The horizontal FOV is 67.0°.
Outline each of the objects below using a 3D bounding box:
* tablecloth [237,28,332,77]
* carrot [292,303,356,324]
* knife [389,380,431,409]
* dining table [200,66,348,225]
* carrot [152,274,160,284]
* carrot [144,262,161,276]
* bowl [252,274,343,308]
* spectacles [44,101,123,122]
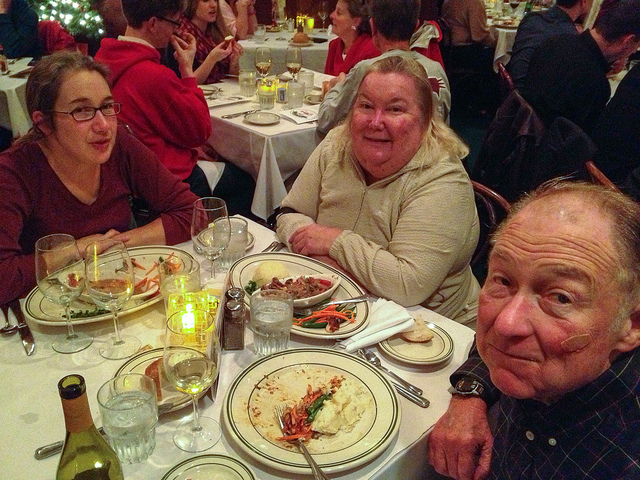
[{"bbox_3d":[-0.448,-2.303,5.969,1.037,0.269,1.075,24,42,31],"label":"tablecloth"},{"bbox_3d":[0.008,0.288,1.885,0.143,0.042,0.102,5,10,5],"label":"carrot"},{"bbox_3d":[0.298,0.521,1.614,0.024,0.017,0.184,-31,37,-24],"label":"knife"},{"bbox_3d":[-0.506,-1.053,4.524,1.766,0.549,1.891,-5,37,-15],"label":"dining table"},{"bbox_3d":[-0.681,0.161,1.996,0.030,0.008,0.032,5,32,-14],"label":"carrot"},{"bbox_3d":[-0.706,0.122,2.031,0.014,0.014,0.074,21,42,19],"label":"carrot"},{"bbox_3d":[-0.074,0.164,1.982,0.202,0.045,0.175,9,18,40],"label":"bowl"},{"bbox_3d":[-1.129,-0.604,2.282,0.295,0.065,0.092,-17,38,-27],"label":"spectacles"}]
